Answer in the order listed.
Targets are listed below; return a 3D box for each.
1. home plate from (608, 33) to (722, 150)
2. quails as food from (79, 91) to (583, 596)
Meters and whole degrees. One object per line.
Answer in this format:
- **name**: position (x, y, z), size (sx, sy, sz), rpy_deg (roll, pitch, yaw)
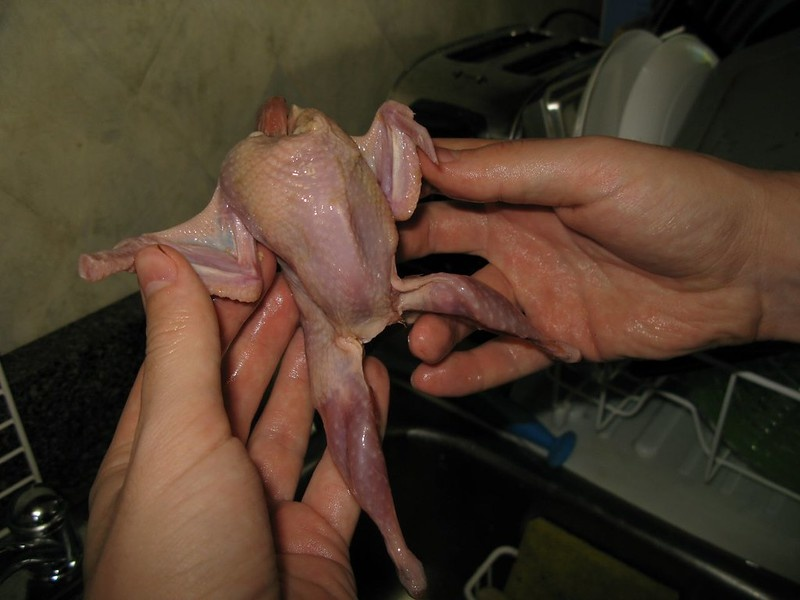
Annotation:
- **home plate**: position (0.498, -0.449, 1.542), size (0.274, 0.221, 0.167), rpy_deg (-19, 34, -32)
- **quails as food**: position (-0.104, -0.073, 1.288), size (0.633, 0.214, 0.888), rpy_deg (-28, 95, -2)
